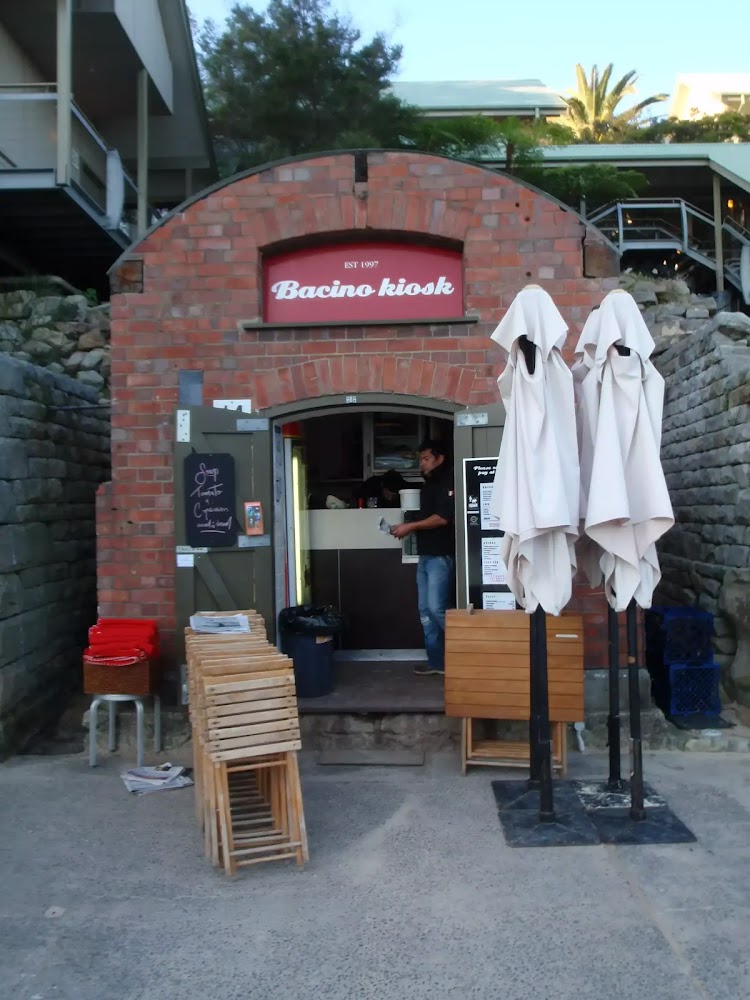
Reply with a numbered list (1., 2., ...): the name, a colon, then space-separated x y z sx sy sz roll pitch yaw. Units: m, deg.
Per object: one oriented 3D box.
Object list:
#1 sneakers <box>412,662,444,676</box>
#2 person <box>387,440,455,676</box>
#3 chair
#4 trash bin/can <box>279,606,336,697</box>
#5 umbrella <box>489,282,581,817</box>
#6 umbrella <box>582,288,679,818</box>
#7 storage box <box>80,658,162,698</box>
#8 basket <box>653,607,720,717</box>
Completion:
1. sneakers: 0.431 1.378 7.777 0.214 0.094 0.091 4 -9 6
2. person: 0.352 0.445 7.935 0.668 1.669 0.540 0 0 -7
3. chair: -0.653 1.165 4.751 0.612 1.132 0.622 0 -1 -18
4. trash bin/can: -0.538 1.133 7.178 0.417 0.583 0.421 3 4 -7
5. umbrella: 0.860 0.259 5.076 0.454 2.701 0.638 -1 0 11
6. umbrella: 1.334 0.274 5.155 0.468 2.659 0.901 -1 0 12
7. storage box: -1.728 1.214 6.532 0.341 0.198 0.334 0 -2 4
8. basket: 2.373 1.288 7.473 0.502 0.762 0.547 2 4 4
